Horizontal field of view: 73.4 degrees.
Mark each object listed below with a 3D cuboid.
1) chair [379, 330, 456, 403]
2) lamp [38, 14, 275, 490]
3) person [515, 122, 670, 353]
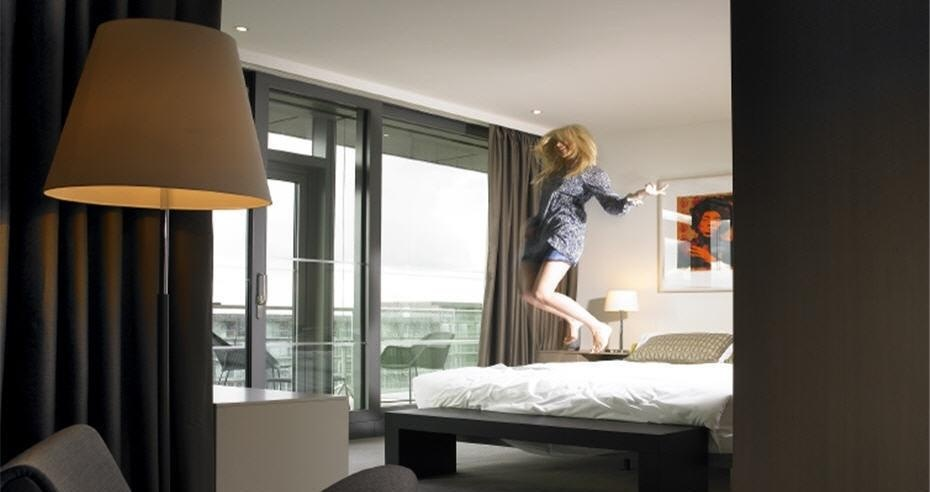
[{"bbox_3d":[-0.460,1.134,6.115,0.705,0.569,0.564,6,-10,-41],"label":"chair"},{"bbox_3d":[-0.844,-0.084,1.720,0.528,0.993,0.484,5,-10,-30],"label":"lamp"},{"bbox_3d":[1.052,-0.052,6.032,0.882,2.026,0.876,4,-10,-25],"label":"person"}]
